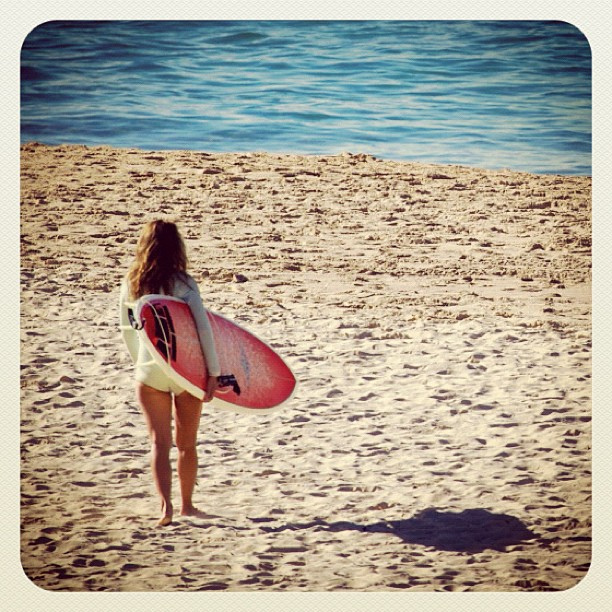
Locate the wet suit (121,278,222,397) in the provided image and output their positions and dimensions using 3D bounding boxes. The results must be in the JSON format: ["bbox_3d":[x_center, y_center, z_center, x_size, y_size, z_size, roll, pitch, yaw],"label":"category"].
[{"bbox_3d":[-0.961,0.220,8.253,0.693,0.820,0.193,-19,2,-18],"label":"wet suit"}]
